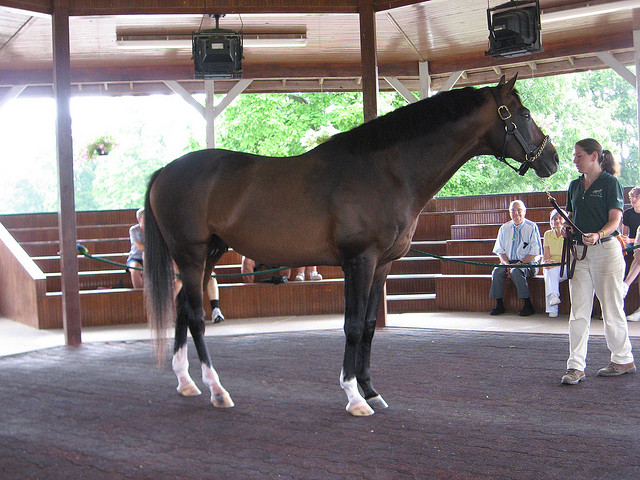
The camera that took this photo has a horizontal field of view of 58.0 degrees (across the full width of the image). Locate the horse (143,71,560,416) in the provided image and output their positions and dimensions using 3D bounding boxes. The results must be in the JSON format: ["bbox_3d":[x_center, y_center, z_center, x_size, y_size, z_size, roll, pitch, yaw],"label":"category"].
[{"bbox_3d":[0.139,0.097,5.175,3.587,3.189,1.037,2,2,11],"label":"horse"}]

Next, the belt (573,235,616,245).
[{"bbox_3d":[2.474,0.001,5.232,0.176,0.057,0.136,-8,2,17],"label":"belt"}]

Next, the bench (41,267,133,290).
[{"bbox_3d":[-3.613,0.601,9.188,1.265,0.299,0.845,-2,6,-12],"label":"bench"}]

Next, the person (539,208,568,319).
[{"bbox_3d":[3.108,0.384,7.730,0.411,1.566,0.439,-1,-6,17],"label":"person"}]

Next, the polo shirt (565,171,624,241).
[{"bbox_3d":[2.497,-0.306,5.293,0.368,0.739,0.621,3,-5,-32],"label":"polo shirt"}]

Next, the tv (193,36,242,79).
[{"bbox_3d":[-1.428,-2.543,8.044,0.531,0.582,0.270,-1,6,-7],"label":"tv"}]

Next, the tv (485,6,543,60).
[{"bbox_3d":[2.503,-2.616,7.667,0.858,0.888,0.563,7,17,34],"label":"tv"}]
